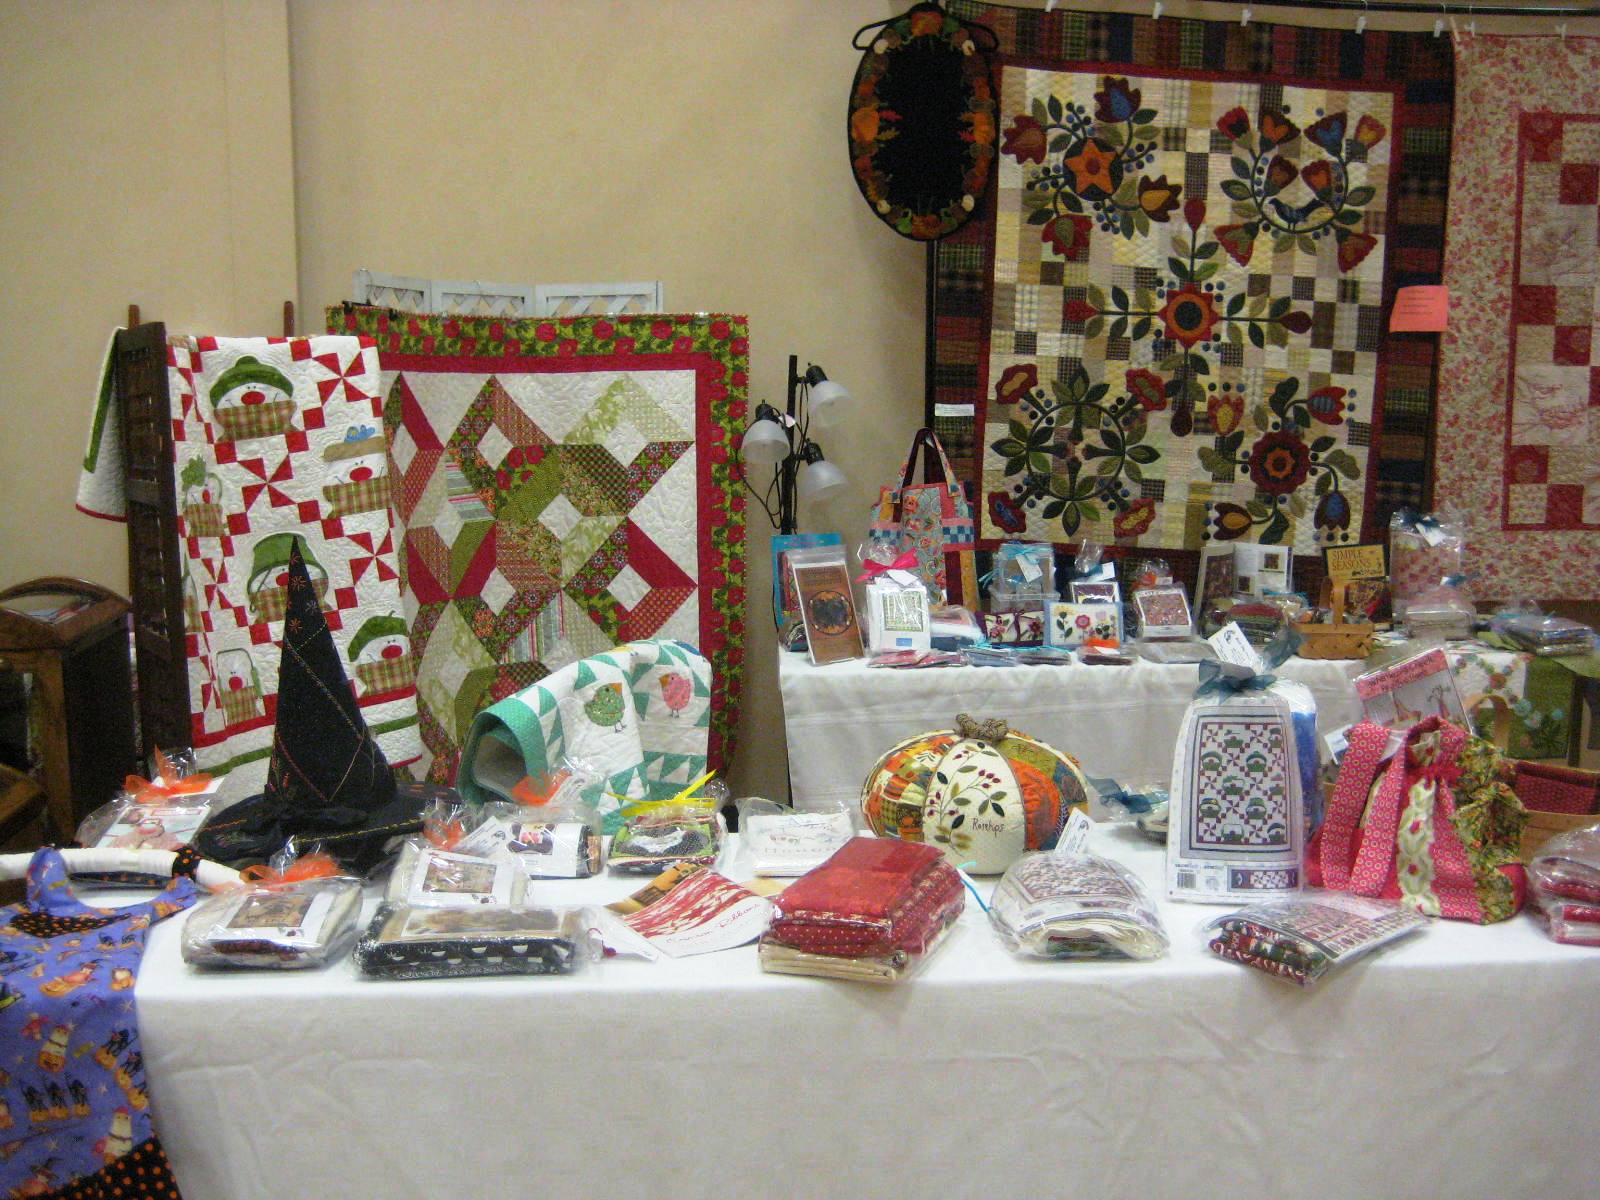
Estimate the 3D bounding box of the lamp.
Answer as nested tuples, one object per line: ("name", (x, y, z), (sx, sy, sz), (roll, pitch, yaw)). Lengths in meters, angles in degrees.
("lamp", (-0.031, -0.532, 4.688), (0.343, 0.630, 0.628), (-2, 7, -2))
